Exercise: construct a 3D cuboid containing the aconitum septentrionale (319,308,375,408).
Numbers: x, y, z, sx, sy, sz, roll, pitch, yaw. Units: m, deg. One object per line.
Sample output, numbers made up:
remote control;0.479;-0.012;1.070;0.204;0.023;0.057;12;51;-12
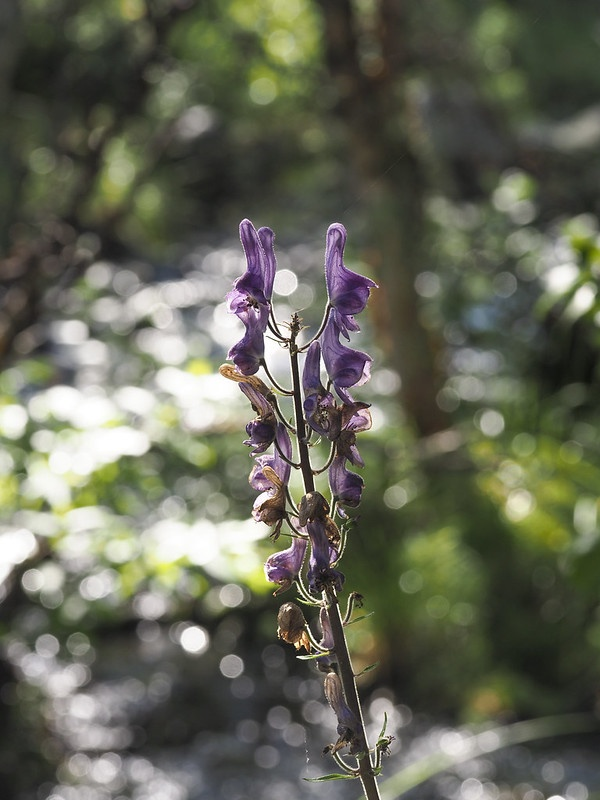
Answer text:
aconitum septentrionale;0.124;-0.126;3.145;0.123;0.204;0.272;-19;82;-36
